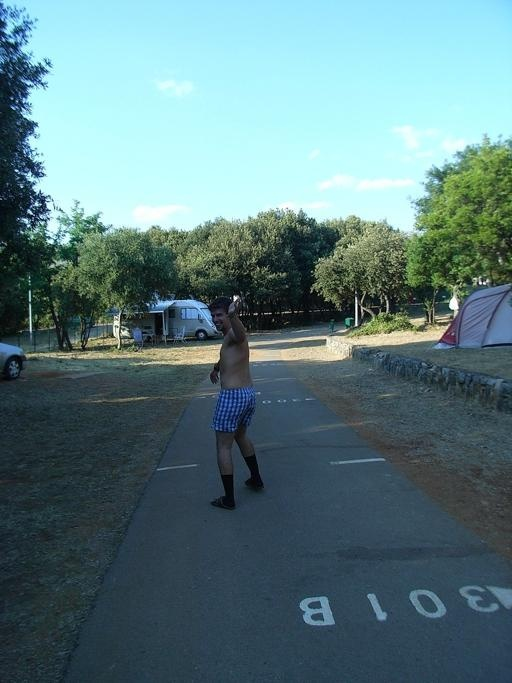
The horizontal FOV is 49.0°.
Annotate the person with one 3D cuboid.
[{"bbox_3d":[-0.161,0.459,4.460,0.421,1.629,0.868,-2,3,-1],"label":"person"}]

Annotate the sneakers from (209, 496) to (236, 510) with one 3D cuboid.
[{"bbox_3d":[-0.250,1.225,4.333,0.165,0.070,0.087,8,5,20],"label":"sneakers"}]

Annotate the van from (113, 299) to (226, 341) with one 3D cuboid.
[{"bbox_3d":[-5.497,-1.198,33.591,5.613,2.400,4.382,-1,4,3],"label":"van"}]
